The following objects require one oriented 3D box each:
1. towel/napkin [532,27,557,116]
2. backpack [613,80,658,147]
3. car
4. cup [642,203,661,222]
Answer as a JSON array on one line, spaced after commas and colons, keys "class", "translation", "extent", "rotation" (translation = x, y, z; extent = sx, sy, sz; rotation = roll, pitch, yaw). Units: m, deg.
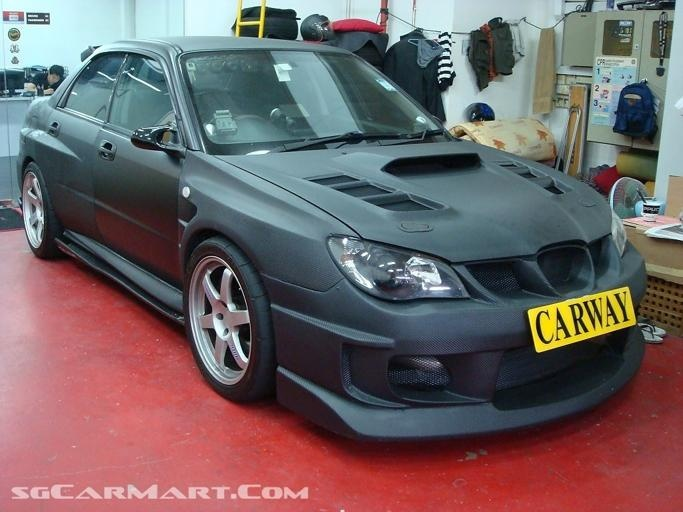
[{"class": "towel/napkin", "translation": [3.010, -2.787, 6.997], "extent": [0.369, 1.211, 0.116], "rotation": [-17, 23, -23]}, {"class": "backpack", "translation": [3.517, -1.775, 5.562], "extent": [0.345, 0.602, 0.428], "rotation": [-32, 33, -26]}, {"class": "car", "translation": [-0.494, -0.310, 2.672], "extent": [1.719, 1.163, 3.496], "rotation": [-12, 24, -39]}, {"class": "cup", "translation": [2.170, -0.314, 3.274], "extent": [0.169, 0.136, 0.123], "rotation": [-4, 8, -38]}]
